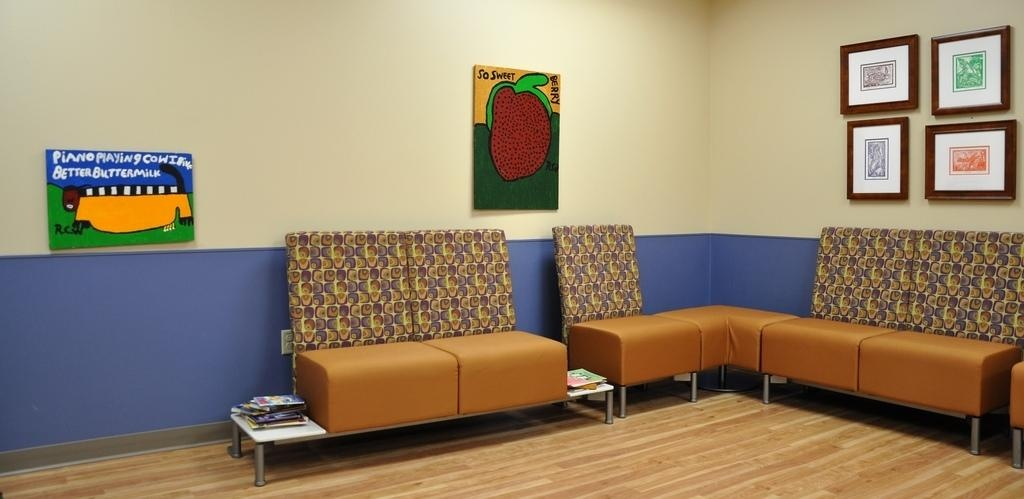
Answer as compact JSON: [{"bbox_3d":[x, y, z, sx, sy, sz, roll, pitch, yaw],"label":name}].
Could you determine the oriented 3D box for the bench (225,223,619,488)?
[{"bbox_3d":[-0.960,1.039,5.930,2.767,1.190,0.898,-1,-2,-25],"label":"bench"}]

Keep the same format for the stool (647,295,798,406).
[{"bbox_3d":[2.230,1.026,6.864,1.007,0.576,1.011,3,-2,-31],"label":"stool"}]

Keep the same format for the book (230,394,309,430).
[{"bbox_3d":[-2.101,1.433,5.590,0.465,0.119,0.439,1,-1,-30],"label":"book"}]

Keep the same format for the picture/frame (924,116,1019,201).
[{"bbox_3d":[4.632,-0.913,6.388,1.059,0.892,0.073,0,-1,32],"label":"picture/frame"}]
